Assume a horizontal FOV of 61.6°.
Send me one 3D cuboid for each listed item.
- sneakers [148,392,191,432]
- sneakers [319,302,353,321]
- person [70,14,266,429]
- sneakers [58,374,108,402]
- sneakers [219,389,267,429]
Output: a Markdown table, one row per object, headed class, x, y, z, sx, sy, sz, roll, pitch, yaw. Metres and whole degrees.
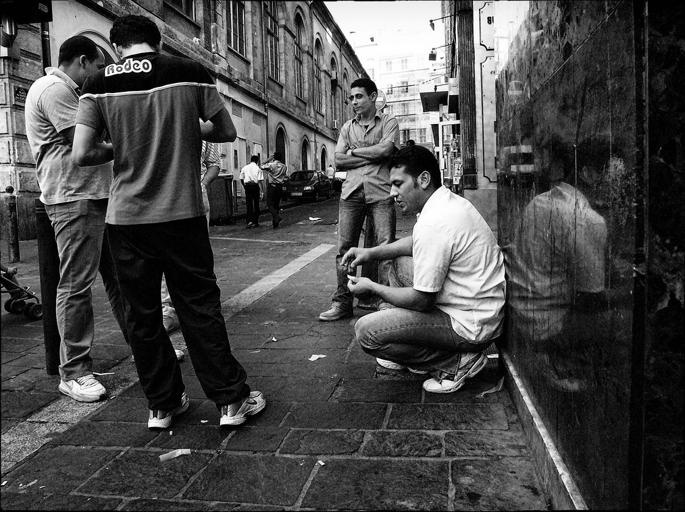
| class | x | y | z | sx | sy | sz | roll | pitch | yaw |
| --- | --- | --- | --- | --- | --- | --- | --- | --- | --- |
| sneakers | -1.012 | 0.916 | 3.341 | 0.100 | 0.139 | 0.316 | 5 | 20 | 19 |
| sneakers | -0.059 | 0.518 | 5.400 | 0.360 | 0.175 | 0.135 | 0 | 0 | -32 |
| person | -0.989 | -0.182 | 3.211 | 0.946 | 2.290 | 0.422 | -1 | 10 | 4 |
| sneakers | -1.661 | 0.824 | 3.660 | 0.312 | 0.159 | 0.129 | 0 | 1 | 26 |
| sneakers | -0.571 | 0.880 | 3.321 | 0.115 | 0.150 | 0.309 | 6 | 18 | 27 |
